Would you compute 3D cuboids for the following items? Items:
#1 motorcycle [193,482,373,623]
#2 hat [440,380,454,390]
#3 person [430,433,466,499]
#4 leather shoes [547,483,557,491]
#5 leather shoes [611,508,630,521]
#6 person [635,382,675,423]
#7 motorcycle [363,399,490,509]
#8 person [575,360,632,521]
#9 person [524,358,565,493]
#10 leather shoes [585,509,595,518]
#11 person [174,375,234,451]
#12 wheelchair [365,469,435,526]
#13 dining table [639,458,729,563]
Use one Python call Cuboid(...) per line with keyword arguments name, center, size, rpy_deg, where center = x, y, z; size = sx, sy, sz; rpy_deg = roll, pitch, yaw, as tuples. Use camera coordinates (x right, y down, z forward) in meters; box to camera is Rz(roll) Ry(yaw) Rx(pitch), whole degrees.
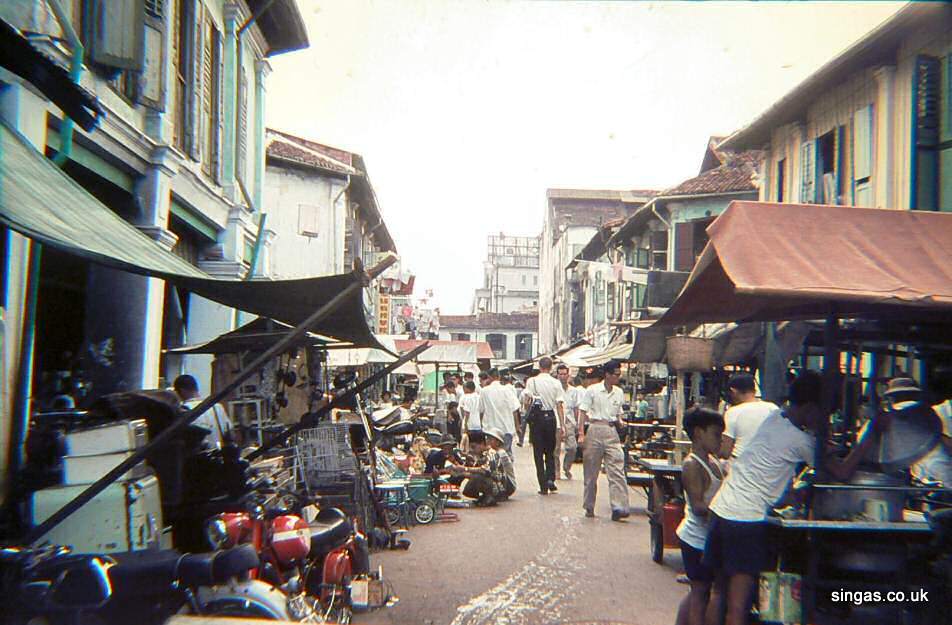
Cuboid(name="motorcycle", center=(-1.851, 2.204, 7.262), size=(0.910, 1.136, 1.955), rpy_deg=(-27, -39, 20))
Cuboid(name="hat", center=(-0.941, 2.294, 24.859), size=(0.378, 0.292, 0.323), rpy_deg=(-9, -31, -11))
Cuboid(name="person", center=(-0.522, 2.724, 13.889), size=(0.683, 1.188, 1.573), rpy_deg=(-1, -13, 6))
Cuboid(name="leather shoes", center=(1.409, 3.213, 14.500), size=(0.084, 0.136, 0.292), rpy_deg=(-6, -4, 25))
Cuboid(name="leather shoes", center=(2.162, 3.034, 11.887), size=(0.264, 0.197, 0.142), rpy_deg=(-14, -5, 2))
Cuboid(name="person", center=(4.430, 2.249, 19.492), size=(1.010, 1.032, 0.565), rpy_deg=(0, 4, 6))
Cuboid(name="motorcycle", center=(-0.925, 2.416, 13.543), size=(2.183, 1.554, 1.495), rpy_deg=(1, -10, 6))
Cuboid(name="person", center=(1.933, 1.982, 12.128), size=(0.714, 2.039, 0.598), rpy_deg=(-5, -2, 7))
Cuboid(name="person", center=(1.310, 2.088, 14.795), size=(0.779, 2.020, 1.164), rpy_deg=(-5, -3, 5))
Cuboid(name="leather shoes", center=(1.730, 3.085, 12.109), size=(0.136, 0.144, 0.091), rpy_deg=(1, -3, 27))
Cuboid(name="person", center=(-3.289, 1.233, 9.530), size=(0.646, 0.687, 1.141), rpy_deg=(-7, 40, -21))
Cuboid(name="wheelchair", center=(-1.039, 2.792, 11.683), size=(0.837, 0.676, 0.634), rpy_deg=(0, -3, -9))
Cuboid(name="dining table", center=(2.638, 2.503, 10.159), size=(1.005, 1.016, 1.057), rpy_deg=(0, -2, 2))
